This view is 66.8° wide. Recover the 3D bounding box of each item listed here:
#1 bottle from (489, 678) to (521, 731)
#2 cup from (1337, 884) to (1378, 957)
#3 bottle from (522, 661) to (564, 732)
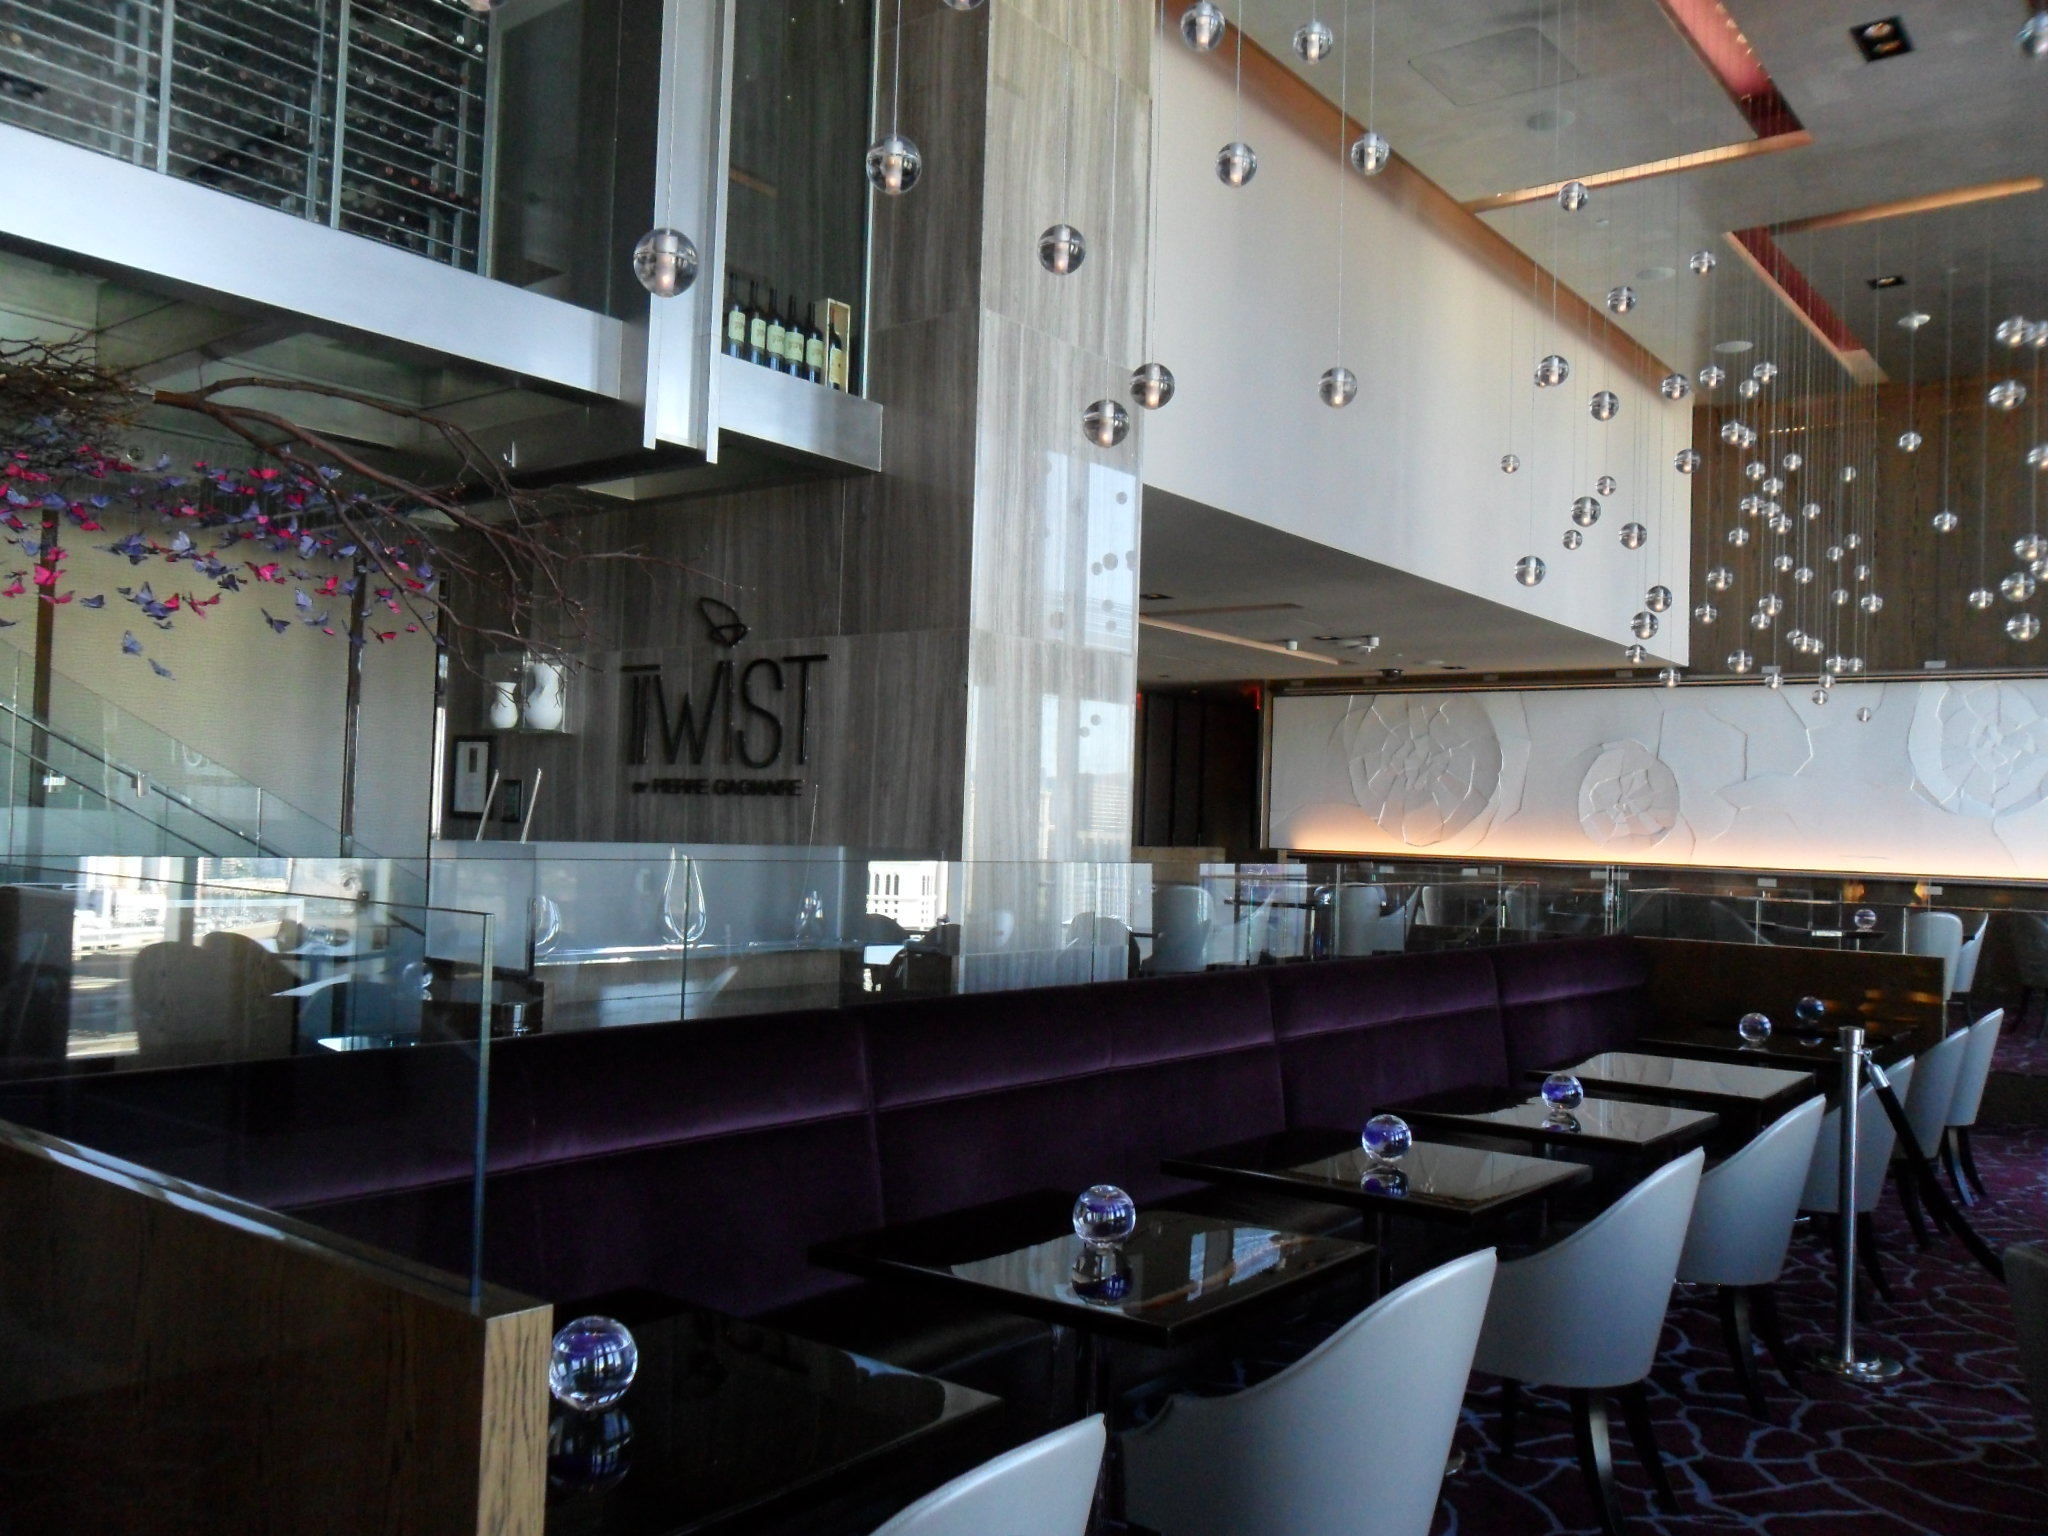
[{"bbox_3d":[-2.702,-0.326,8.055,0.133,0.262,0.330,1,-6,-25],"label":"bottle"},{"bbox_3d":[1.470,0.687,6.895,0.211,0.400,0.213,2,-12,0],"label":"cup"},{"bbox_3d":[-2.452,-0.370,7.870,0.265,0.374,0.114,-3,-6,17],"label":"bottle"}]
